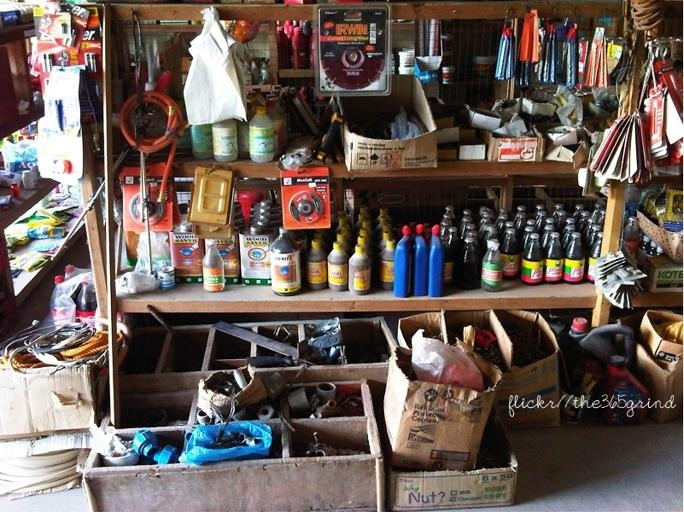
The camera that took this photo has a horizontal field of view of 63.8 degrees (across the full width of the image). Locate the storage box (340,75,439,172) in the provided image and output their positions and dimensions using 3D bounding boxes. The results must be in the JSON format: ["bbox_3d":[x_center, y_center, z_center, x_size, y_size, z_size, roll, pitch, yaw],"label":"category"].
[{"bbox_3d":[0.261,-0.657,2.997,0.457,0.212,0.632,-1,45,3],"label":"storage box"}]

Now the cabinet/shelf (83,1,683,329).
[{"bbox_3d":[0.144,-0.402,3.075,2.915,1.824,0.965,-1,14,-2],"label":"cabinet/shelf"}]
